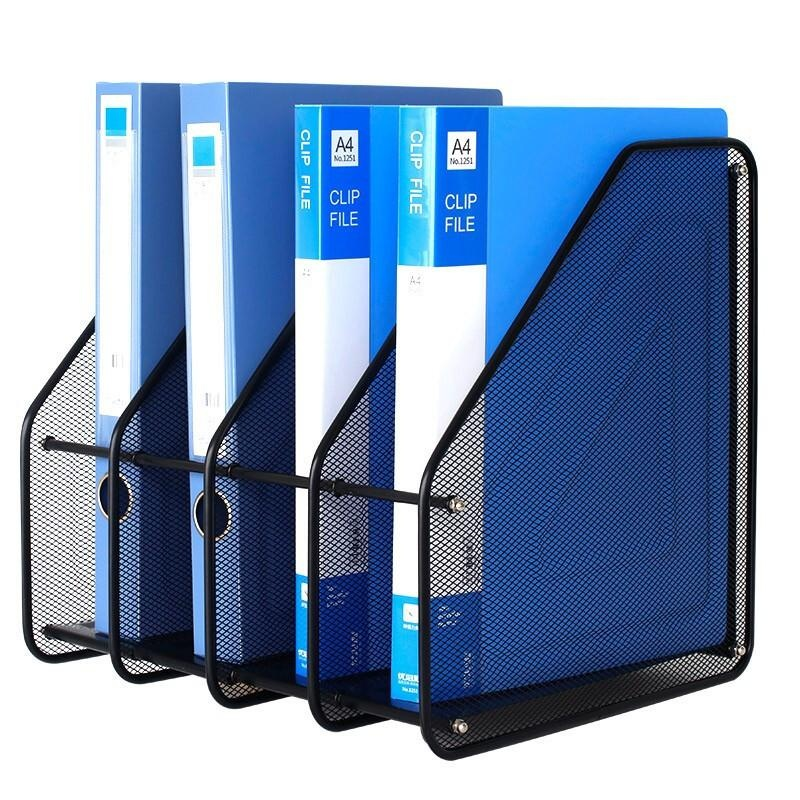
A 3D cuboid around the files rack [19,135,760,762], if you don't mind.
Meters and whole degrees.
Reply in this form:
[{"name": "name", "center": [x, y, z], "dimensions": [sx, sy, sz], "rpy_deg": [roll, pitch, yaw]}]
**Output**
[{"name": "files rack", "center": [-0.023, 0.067, 1.508], "dimensions": [0.660, 0.742, 0.907], "rpy_deg": [-1, 1, -40]}]
